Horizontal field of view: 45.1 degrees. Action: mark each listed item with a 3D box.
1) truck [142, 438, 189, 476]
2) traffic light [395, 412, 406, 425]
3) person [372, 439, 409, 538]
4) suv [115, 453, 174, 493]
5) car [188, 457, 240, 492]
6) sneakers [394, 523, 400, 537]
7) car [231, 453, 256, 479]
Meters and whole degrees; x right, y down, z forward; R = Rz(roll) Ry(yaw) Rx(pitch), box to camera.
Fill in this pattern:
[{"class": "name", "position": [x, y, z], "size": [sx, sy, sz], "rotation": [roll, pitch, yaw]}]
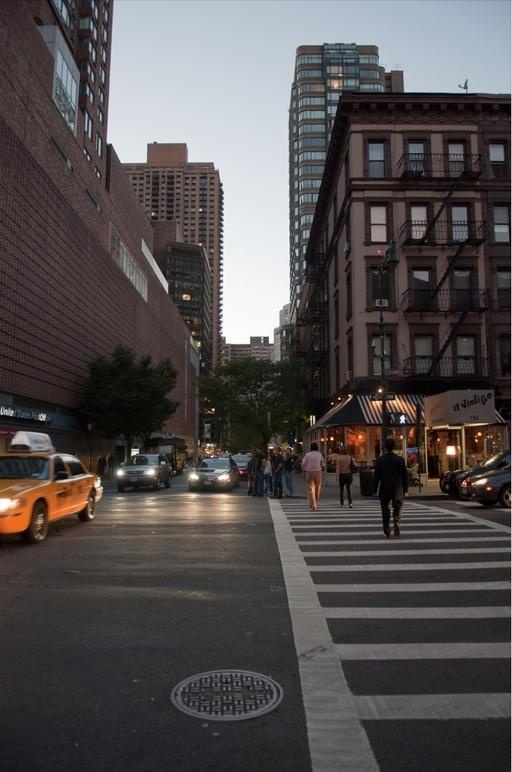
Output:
[{"class": "truck", "position": [-7.432, 5.835, 50.661], "size": [2.038, 3.951, 7.260], "rotation": [-1, -11, 2]}, {"class": "traffic light", "position": [5.657, 1.370, 24.143], "size": [0.282, 0.515, 0.435], "rotation": [9, -4, -27]}, {"class": "person", "position": [2.591, 1.933, 11.866], "size": [0.560, 1.763, 2.069], "rotation": [-1, -6, 12]}, {"class": "suv", "position": [-4.913, 4.026, 28.126], "size": [1.136, 1.269, 2.978], "rotation": [-2, -13, 3]}, {"class": "car", "position": [-1.819, 3.901, 26.706], "size": [1.527, 1.407, 3.302], "rotation": [-1, -7, 10]}, {"class": "sneakers", "position": [2.505, 2.606, 10.979], "size": [0.068, 0.262, 0.086], "rotation": [-3, 7, 10]}, {"class": "car", "position": [-0.817, 4.796, 35.134], "size": [0.958, 0.987, 2.493], "rotation": [0, 2, 4]}]
